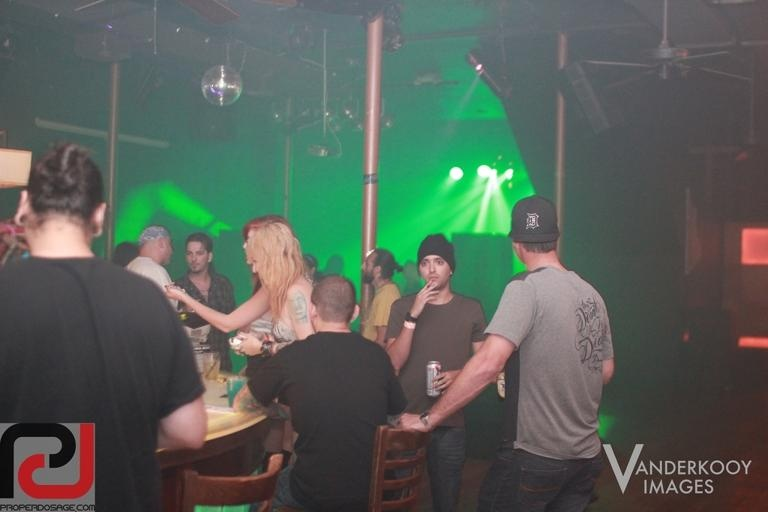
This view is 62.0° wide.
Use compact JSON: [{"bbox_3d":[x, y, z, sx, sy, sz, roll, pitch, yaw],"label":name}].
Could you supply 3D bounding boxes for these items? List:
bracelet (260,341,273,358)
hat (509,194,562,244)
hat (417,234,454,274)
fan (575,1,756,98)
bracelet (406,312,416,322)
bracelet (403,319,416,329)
[{"bbox_3d":[-0.785,0.630,4.300,0.044,0.068,0.094,0,17,-42],"label":"bracelet"},{"bbox_3d":[0.871,-0.198,3.684,0.237,0.169,0.305,0,7,13],"label":"hat"},{"bbox_3d":[0.374,-0.022,4.581,0.256,0.231,0.266,5,-24,7],"label":"hat"},{"bbox_3d":[2.302,-1.688,5.148,0.736,0.746,0.767,4,-13,-31],"label":"fan"},{"bbox_3d":[0.178,0.404,4.294,0.057,0.043,0.060,23,6,43],"label":"bracelet"},{"bbox_3d":[0.173,0.451,4.276,0.068,0.057,0.064,0,-2,27],"label":"bracelet"}]
